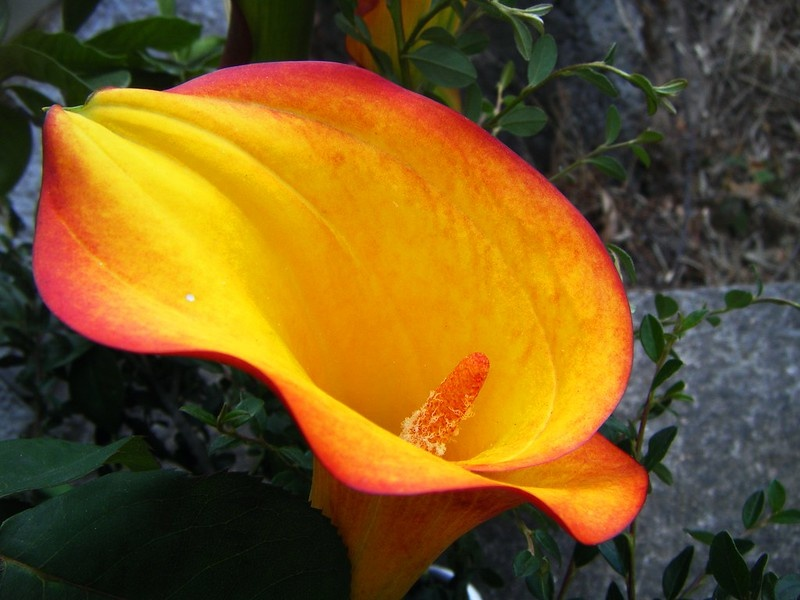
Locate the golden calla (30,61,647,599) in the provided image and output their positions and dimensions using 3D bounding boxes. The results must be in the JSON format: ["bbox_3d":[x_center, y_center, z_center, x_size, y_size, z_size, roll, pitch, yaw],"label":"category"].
[{"bbox_3d":[0.004,0.028,0.733,0.380,0.429,0.363,21,42,11],"label":"golden calla"}]
